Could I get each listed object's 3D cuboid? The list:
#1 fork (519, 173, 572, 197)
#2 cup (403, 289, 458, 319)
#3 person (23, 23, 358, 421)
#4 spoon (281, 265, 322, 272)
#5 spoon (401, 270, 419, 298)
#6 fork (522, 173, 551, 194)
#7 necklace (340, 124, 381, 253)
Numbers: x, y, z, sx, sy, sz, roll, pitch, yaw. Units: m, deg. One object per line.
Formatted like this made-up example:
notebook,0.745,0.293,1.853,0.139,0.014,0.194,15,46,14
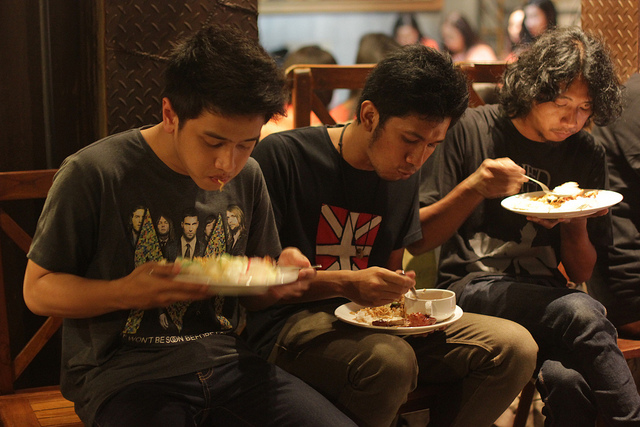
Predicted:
fork,1.382,-0.210,3.520,0.094,0.075,0.509,-1,16,-30
cup,0.645,0.493,3.035,0.226,0.113,0.271,-4,7,19
person,-0.665,0.054,2.523,1.276,1.780,0.741,-5,14,-16
spoon,-0.098,0.268,2.714,0.052,0.026,0.305,1,0,45
spoon,0.492,0.388,2.969,0.042,0.254,0.042,-23,51,7
fork,1.404,-0.195,3.586,0.028,0.028,0.191,-36,66,-25
necklace,0.274,-0.140,3.252,0.225,0.690,0.020,8,-4,-14
